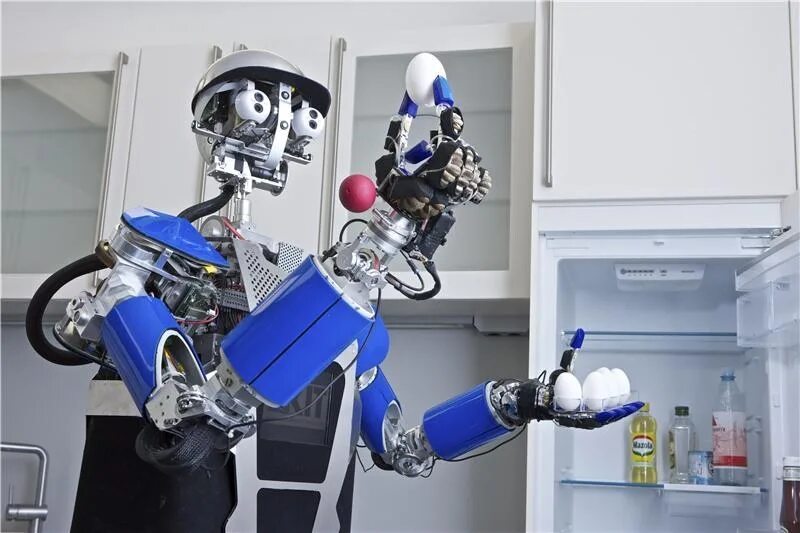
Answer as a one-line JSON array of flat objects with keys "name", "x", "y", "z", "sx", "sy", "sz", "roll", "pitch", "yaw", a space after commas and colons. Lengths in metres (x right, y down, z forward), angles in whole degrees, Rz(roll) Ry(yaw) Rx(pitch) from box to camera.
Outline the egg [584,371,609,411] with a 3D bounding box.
[{"name": "egg", "x": 0.462, "y": 0.291, "z": 2.188, "sx": 0.062, "sy": 0.098, "sz": 0.037, "roll": 2, "pitch": -10, "yaw": 13}]

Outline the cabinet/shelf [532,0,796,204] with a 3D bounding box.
[{"name": "cabinet/shelf", "x": 0.795, "y": -0.449, "z": 2.825, "sx": 0.832, "sy": 0.691, "sz": 0.518, "roll": 0, "pitch": -10, "yaw": 7}]

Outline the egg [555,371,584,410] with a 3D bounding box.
[{"name": "egg", "x": 0.390, "y": 0.292, "z": 2.205, "sx": 0.067, "sy": 0.100, "sz": 0.072, "roll": 0, "pitch": -8, "yaw": -3}]

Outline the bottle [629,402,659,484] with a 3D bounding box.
[{"name": "bottle", "x": 0.737, "y": 0.526, "z": 2.809, "sx": 0.088, "sy": 0.232, "sz": 0.064, "roll": 2, "pitch": -10, "yaw": 14}]

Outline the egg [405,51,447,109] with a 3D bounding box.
[{"name": "egg", "x": 0.051, "y": -0.423, "z": 2.151, "sx": 0.097, "sy": 0.130, "sz": 0.103, "roll": 2, "pitch": -1, "yaw": -4}]
